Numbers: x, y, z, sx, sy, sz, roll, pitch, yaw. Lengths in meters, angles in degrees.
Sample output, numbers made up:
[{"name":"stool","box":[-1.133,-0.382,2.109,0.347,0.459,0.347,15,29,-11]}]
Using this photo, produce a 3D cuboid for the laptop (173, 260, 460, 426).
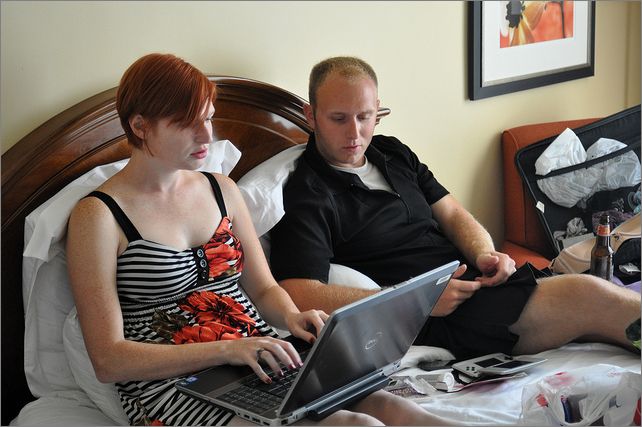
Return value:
[{"name":"laptop","box":[-0.026,0.254,1.400,0.540,0.385,0.575,13,17,39]}]

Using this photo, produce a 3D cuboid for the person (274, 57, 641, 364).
[{"name":"person","box":[0.404,-0.058,2.224,1.644,1.176,0.931,5,23,34]}]

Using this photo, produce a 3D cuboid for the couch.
[{"name":"couch","box":[1.336,-0.113,2.742,0.654,0.642,0.327,-30,28,-35]}]
